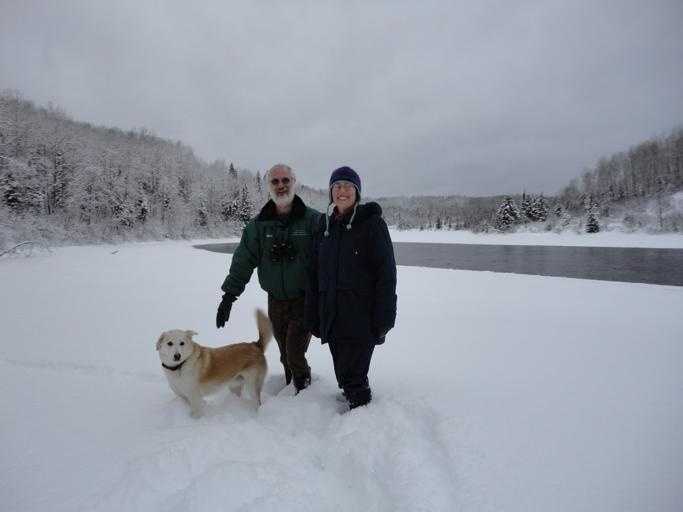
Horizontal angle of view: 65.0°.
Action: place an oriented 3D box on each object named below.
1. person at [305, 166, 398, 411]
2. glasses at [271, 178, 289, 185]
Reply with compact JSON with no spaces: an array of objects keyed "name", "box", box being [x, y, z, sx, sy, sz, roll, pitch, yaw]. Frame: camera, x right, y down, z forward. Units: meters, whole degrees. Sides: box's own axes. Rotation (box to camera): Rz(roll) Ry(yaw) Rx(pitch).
[{"name":"person","box":[0.131,0.447,7.600,1.303,3.371,0.642,2,9,12]},{"name":"glasses","box":[-0.916,-1.135,8.082,0.271,0.109,0.062,-2,9,-10]}]
